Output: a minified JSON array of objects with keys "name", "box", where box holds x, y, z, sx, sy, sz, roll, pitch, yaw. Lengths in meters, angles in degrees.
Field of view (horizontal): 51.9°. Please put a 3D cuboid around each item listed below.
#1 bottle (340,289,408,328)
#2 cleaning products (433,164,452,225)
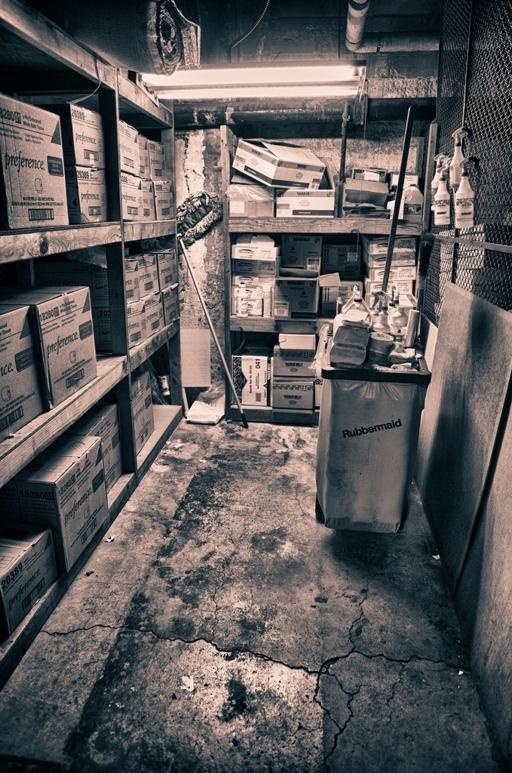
[{"name":"bottle","box":[0.581,-0.369,2.525,0.280,0.223,0.322,1,18,4]},{"name":"cleaning products","box":[0.893,-0.900,2.519,0.070,0.243,0.169,3,14,13]}]
